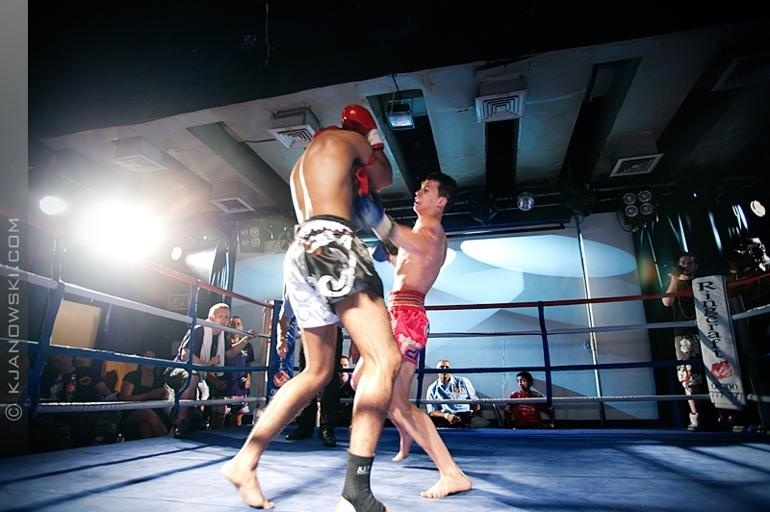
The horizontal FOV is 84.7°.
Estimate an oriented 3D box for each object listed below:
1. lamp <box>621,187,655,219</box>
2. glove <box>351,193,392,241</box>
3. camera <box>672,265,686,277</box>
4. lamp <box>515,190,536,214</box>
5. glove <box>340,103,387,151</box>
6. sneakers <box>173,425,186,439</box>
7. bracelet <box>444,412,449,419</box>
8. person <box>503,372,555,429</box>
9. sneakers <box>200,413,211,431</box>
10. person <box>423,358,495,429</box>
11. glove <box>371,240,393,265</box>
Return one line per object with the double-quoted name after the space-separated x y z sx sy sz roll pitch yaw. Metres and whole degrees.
4.096 -0.838 6.858 0.391 0.390 0.399 -7 -17 25 "lamp"
-0.071 -0.226 2.421 0.263 0.124 0.187 37 -32 5 "glove"
3.667 0.187 5.269 0.128 0.114 0.127 0 -8 26 "camera"
2.341 -0.916 7.036 0.283 0.307 0.318 -6 -16 21 "lamp"
-0.122 -0.793 2.561 0.236 0.297 0.132 -28 8 3 "glove"
-1.888 1.642 3.940 0.148 0.126 0.083 4 -5 -22 "sneakers"
0.851 2.186 5.779 0.081 0.035 0.103 2 -10 13 "bracelet"
2.018 2.042 5.987 0.631 0.783 1.126 -4 -16 15 "person"
-2.215 2.050 5.250 0.093 0.230 0.180 10 -4 -25 "sneakers"
1.019 2.051 6.153 0.915 0.984 0.875 -21 -12 36 "person"
-0.014 -0.024 2.827 0.175 0.125 0.236 -21 -2 3 "glove"
